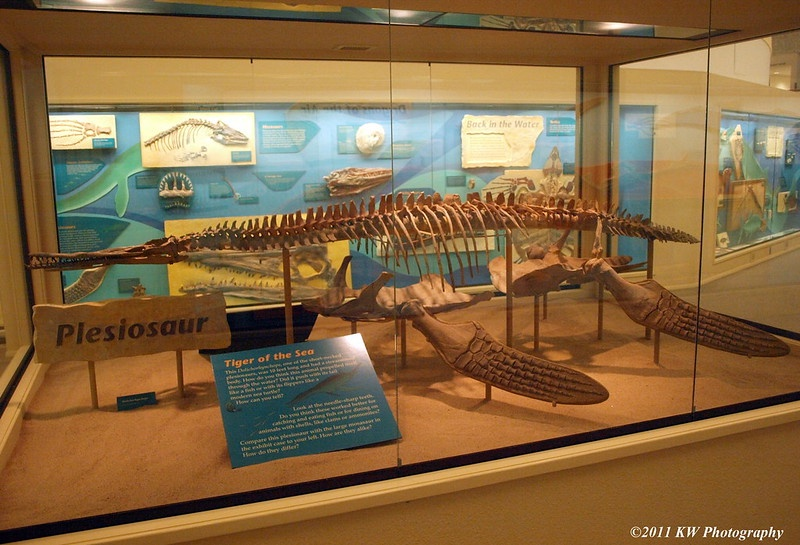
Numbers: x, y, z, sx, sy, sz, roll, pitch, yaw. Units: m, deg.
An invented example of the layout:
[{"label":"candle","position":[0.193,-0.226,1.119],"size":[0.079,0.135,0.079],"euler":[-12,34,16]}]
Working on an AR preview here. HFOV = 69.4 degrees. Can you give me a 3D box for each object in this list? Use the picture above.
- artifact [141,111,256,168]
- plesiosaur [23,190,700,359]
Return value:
[{"label":"artifact","position":[-0.890,-0.594,2.594],"size":[0.492,0.236,0.092],"euler":[-5,12,-16]},{"label":"plesiosaur","position":[-0.293,0.012,2.848],"size":[4.224,0.771,0.563],"euler":[-2,35,-6]}]
